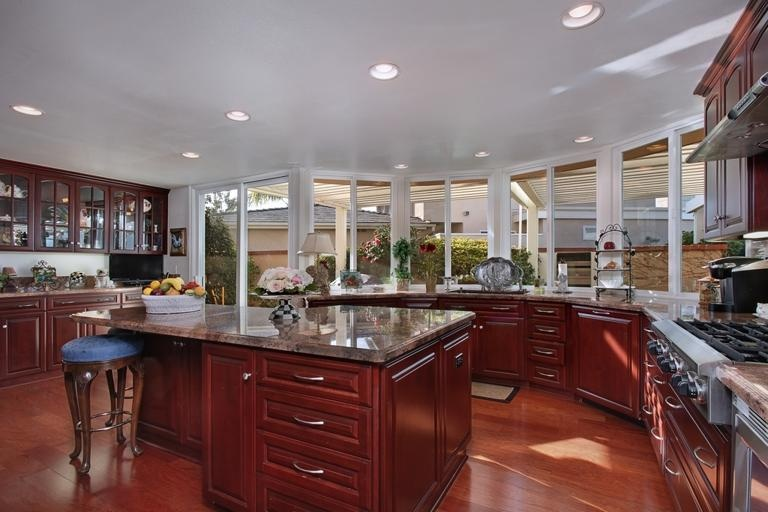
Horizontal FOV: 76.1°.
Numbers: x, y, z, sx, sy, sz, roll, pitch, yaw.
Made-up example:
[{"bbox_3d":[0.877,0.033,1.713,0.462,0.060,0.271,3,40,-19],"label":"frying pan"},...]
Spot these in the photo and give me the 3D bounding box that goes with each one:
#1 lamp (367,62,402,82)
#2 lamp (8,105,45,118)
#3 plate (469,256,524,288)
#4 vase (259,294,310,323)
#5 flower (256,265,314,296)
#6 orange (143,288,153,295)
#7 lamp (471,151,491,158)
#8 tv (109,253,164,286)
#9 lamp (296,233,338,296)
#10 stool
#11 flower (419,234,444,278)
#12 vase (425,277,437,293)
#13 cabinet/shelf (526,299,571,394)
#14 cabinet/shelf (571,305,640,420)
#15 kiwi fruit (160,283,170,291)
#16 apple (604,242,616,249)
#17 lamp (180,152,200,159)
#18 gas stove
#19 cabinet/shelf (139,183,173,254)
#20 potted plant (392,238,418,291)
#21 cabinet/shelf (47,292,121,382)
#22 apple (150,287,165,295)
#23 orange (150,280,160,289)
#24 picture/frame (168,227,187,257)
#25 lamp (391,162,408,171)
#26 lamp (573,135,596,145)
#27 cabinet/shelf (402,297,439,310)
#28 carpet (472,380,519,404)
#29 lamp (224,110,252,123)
[{"bbox_3d":[0.007,-1.456,3.856,0.231,0.084,0.158,0,12,0],"label":"lamp"},{"bbox_3d":[-3.199,-1.314,4.451,0.223,0.082,0.248,-11,16,-42],"label":"lamp"},{"bbox_3d":[1.387,0.221,5.936,0.434,0.405,0.100,0,-5,20],"label":"plate"},{"bbox_3d":[-0.764,0.407,3.912,0.439,0.192,0.431,0,-4,2],"label":"vase"},{"bbox_3d":[-0.728,0.188,3.656,0.408,0.192,0.216,-3,13,-14],"label":"flower"},{"bbox_3d":[-1.925,0.293,4.044,0.058,0.031,0.057,5,6,7],"label":"orange"},{"bbox_3d":[1.133,-1.165,5.655,0.177,0.069,0.237,2,12,10],"label":"lamp"},{"bbox_3d":[-3.607,0.191,7.151,0.140,0.318,0.490,4,3,36],"label":"tv"},{"bbox_3d":[-0.788,0.125,5.850,0.491,0.781,0.510,-4,-5,36],"label":"lamp"},{"bbox_3d":[-2.280,1.179,4.062,0.581,0.949,0.569,-3,1,-42],"label":"stool"},{"bbox_3d":[0.607,0.069,6.530,0.282,0.456,0.291,10,-14,-42],"label":"flower"},{"bbox_3d":[0.594,0.362,6.148,0.185,0.213,0.154,0,-4,1],"label":"vase"},{"bbox_3d":[1.747,0.922,5.195,0.464,0.861,0.216,7,15,30],"label":"cabinet/shelf"},{"bbox_3d":[2.347,0.928,4.850,0.877,0.972,0.853,1,8,30],"label":"cabinet/shelf"},{"bbox_3d":[-1.794,0.257,4.072,0.067,0.049,0.051,5,-12,21],"label":"kiwi fruit"},{"bbox_3d":[2.391,-0.104,5.214,0.096,0.080,0.095,0,1,21],"label":"apple"},{"bbox_3d":[-2.230,-1.173,5.736,0.197,0.071,0.248,-4,13,-18],"label":"lamp"},{"bbox_3d":[1.858,0.638,2.855,0.523,0.285,0.811,-1,-4,26],"label":"gas stove"},{"bbox_3d":[-3.457,-0.532,7.505,0.558,0.955,0.228,8,5,22],"label":"cabinet/shelf"},{"bbox_3d":[0.270,0.091,6.394,0.295,0.613,0.449,0,13,1],"label":"potted plant"},{"bbox_3d":[-3.523,0.899,6.078,1.040,0.921,0.392,-5,-7,9],"label":"cabinet/shelf"},{"bbox_3d":[-1.847,0.293,4.055,0.063,0.059,0.061,13,12,9],"label":"apple"},{"bbox_3d":[-1.951,0.248,4.240,0.077,0.077,0.079,15,10,43],"label":"orange"},{"bbox_3d":[-3.108,-0.211,7.512,0.461,0.556,0.072,1,2,28],"label":"picture/frame"},{"bbox_3d":[0.227,-1.130,6.225,0.180,0.084,0.294,0,12,3],"label":"lamp"},{"bbox_3d":[2.089,-1.223,5.157,0.195,0.079,0.257,4,13,21],"label":"lamp"},{"bbox_3d":[0.432,0.552,5.763,0.387,0.117,0.107,1,13,4],"label":"cabinet/shelf"},{"bbox_3d":[1.189,1.470,5.298,0.502,0.088,0.566,3,12,15],"label":"carpet"},{"bbox_3d":[-1.348,-1.307,4.595,0.232,0.086,0.224,3,13,15],"label":"lamp"}]
